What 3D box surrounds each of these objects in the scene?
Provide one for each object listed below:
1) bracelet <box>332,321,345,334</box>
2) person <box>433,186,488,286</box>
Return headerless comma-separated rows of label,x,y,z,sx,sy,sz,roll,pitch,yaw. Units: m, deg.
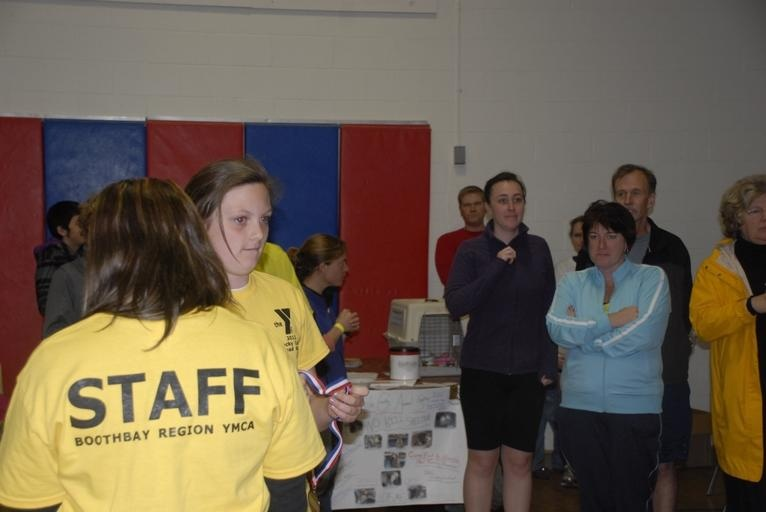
bracelet,-0.298,0.490,5.231,0.027,0.073,0.071,-36,12,0
person,0.754,-0.120,6.481,0.610,0.968,0.551,0,1,3
